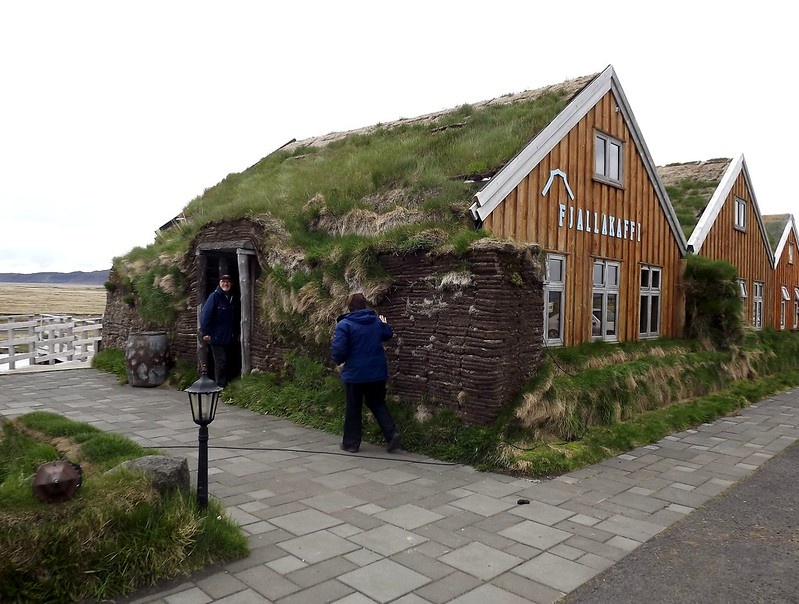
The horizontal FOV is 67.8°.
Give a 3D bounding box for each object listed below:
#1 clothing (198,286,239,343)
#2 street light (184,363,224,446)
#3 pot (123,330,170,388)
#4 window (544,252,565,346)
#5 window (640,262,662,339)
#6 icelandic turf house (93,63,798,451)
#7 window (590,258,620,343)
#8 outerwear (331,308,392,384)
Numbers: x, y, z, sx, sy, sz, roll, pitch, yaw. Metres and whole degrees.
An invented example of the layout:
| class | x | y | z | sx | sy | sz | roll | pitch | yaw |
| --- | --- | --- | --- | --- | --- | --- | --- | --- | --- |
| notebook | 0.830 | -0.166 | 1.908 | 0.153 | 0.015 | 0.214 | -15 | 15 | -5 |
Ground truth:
| class | x | y | z | sx | sy | sz | roll | pitch | yaw |
| --- | --- | --- | --- | --- | --- | --- | --- | --- | --- |
| clothing | -3.863 | 0.305 | 12.526 | 0.500 | 1.329 | 1.154 | -4 | -1 | 31 |
| street light | -2.073 | 1.028 | 6.205 | 0.357 | 0.570 | 0.371 | 1 | -2 | 1 |
| pot | -5.700 | 1.288 | 13.568 | 1.026 | 1.530 | 1.039 | -1 | -1 | 0 |
| window | 3.032 | -0.038 | 11.518 | 0.243 | 1.765 | 0.759 | 5 | 6 | 37 |
| window | 6.119 | -0.006 | 14.496 | 0.217 | 2.191 | 1.772 | -2 | -1 | 38 |
| icelandic turf house | 0.964 | -0.143 | 11.538 | 7.615 | 4.176 | 7.667 | -1 | 0 | 43 |
| window | 4.425 | -0.034 | 12.853 | 0.232 | 1.993 | 1.705 | -2 | -3 | 38 |
| outerwear | -0.536 | 0.672 | 8.920 | 1.090 | 1.096 | 0.616 | -1 | -5 | -31 |
